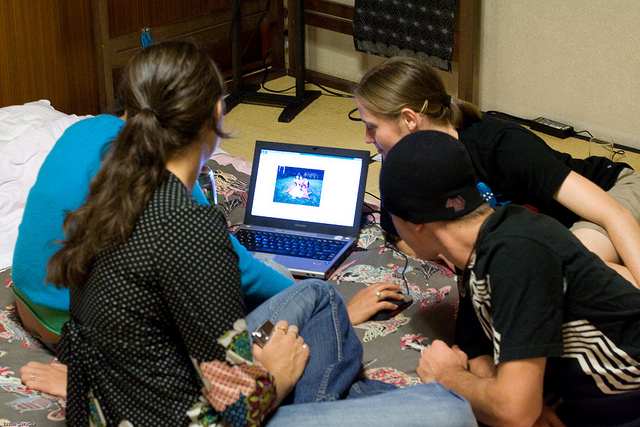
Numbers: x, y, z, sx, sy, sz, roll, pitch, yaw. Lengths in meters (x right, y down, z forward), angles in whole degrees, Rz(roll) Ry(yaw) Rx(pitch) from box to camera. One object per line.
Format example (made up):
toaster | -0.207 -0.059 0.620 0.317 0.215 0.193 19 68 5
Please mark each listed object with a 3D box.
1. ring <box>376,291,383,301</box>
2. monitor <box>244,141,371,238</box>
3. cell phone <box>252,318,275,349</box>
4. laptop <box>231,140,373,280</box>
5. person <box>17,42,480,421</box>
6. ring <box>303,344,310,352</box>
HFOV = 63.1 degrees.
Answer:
ring | 0.198 0.277 1.757 0.016 0.026 0.026 -19 41 -17
monitor | -0.045 -0.107 2.103 0.533 0.383 0.318 6 12 11
cell phone | -0.158 0.324 1.431 0.058 0.015 0.061 43 43 4
laptop | -0.132 -0.035 1.991 0.580 0.350 0.513 3 21 15
person | -0.295 0.121 1.266 1.060 0.978 0.479 1 24 -3
ring | -0.042 0.366 1.421 0.016 0.020 0.017 2 24 -1
